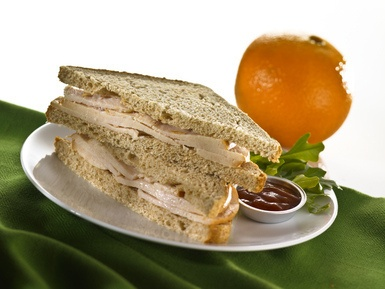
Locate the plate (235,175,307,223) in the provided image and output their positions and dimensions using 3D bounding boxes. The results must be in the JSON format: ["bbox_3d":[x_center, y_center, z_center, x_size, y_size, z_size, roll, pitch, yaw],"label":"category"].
[{"bbox_3d":[0.534,0.368,2.624,0.304,0.100,0.317,11,34,20],"label":"plate"}]
